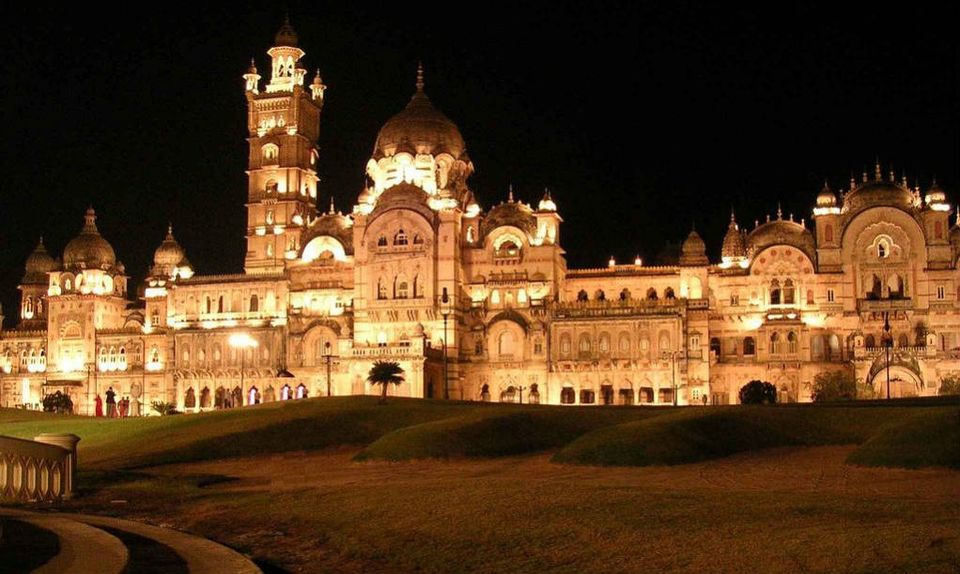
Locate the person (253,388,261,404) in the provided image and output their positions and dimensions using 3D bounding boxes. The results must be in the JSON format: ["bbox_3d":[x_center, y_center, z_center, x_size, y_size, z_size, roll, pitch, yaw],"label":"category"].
[{"bbox_3d":[-20.509,10.112,133.121,0.761,1.142,0.609,-8,-11,40],"label":"person"}]

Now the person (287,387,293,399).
[{"bbox_3d":[-17.209,9.625,130.755,0.654,0.879,0.641,1,-8,-14],"label":"person"}]

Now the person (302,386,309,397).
[{"bbox_3d":[-15.637,9.555,130.374,0.481,0.800,0.931,1,-8,-13],"label":"person"}]
